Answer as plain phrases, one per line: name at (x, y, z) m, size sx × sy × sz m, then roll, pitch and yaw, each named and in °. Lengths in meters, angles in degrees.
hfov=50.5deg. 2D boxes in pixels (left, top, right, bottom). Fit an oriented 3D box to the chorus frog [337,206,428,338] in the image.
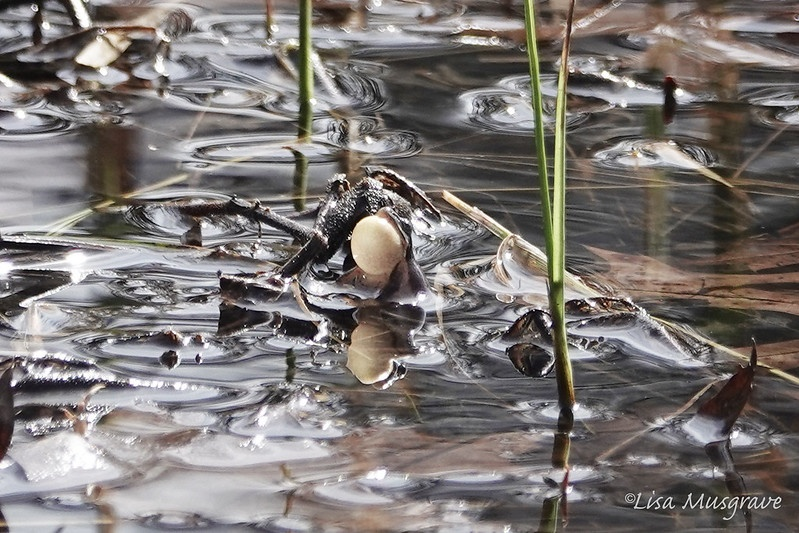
chorus frog at (-0.035, 0.003, 1.305) m, size 0.147 × 0.187 × 0.094 m, roll 1°, pitch 9°, yaw 8°
